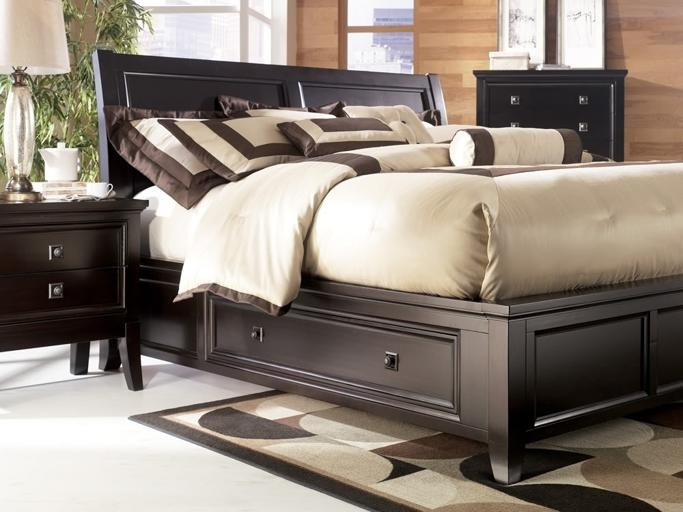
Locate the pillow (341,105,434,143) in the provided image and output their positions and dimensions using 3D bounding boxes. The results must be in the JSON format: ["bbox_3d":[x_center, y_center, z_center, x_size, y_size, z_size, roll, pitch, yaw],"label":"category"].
[{"bbox_3d":[0.323,-0.731,3.468,0.438,0.101,0.360,7,23,-24],"label":"pillow"}]

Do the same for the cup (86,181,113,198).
[{"bbox_3d":[-1.072,-0.292,2.683,0.140,0.076,0.102,0,1,-38],"label":"cup"}]

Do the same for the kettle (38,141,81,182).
[{"bbox_3d":[-1.409,-0.470,2.967,0.267,0.211,0.182,0,3,3],"label":"kettle"}]
